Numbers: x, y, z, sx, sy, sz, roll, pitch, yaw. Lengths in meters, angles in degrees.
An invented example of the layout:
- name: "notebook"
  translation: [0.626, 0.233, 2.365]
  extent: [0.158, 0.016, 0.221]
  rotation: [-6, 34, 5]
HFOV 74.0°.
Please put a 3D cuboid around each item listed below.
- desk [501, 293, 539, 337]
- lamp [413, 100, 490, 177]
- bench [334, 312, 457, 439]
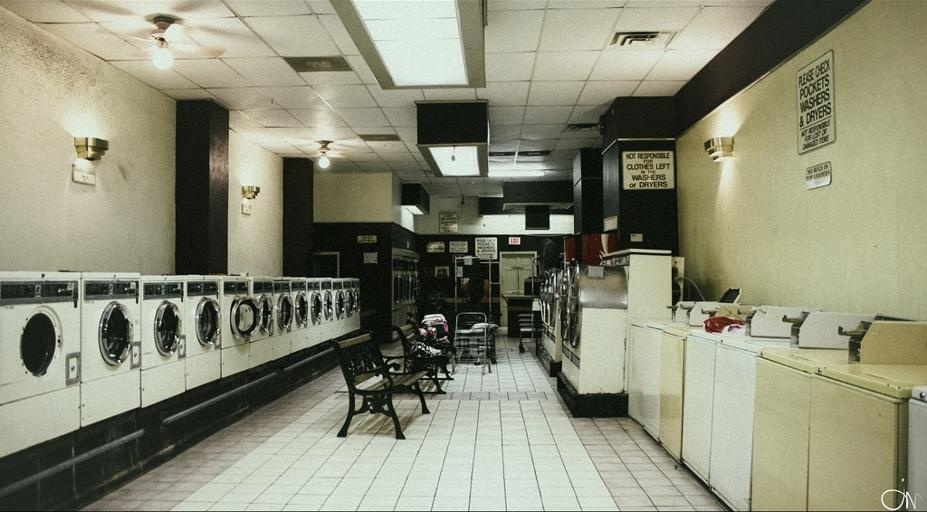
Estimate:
- name: "desk"
  translation: [1.642, 1.577, 15.957]
  extent: [1.191, 0.949, 1.081]
  rotation: [1, -4, -7]
- name: "lamp"
  translation: [-0.194, -2.181, 11.382]
  extent: [1.262, 1.247, 1.554]
  rotation: [0, 12, 2]
- name: "bench"
  translation: [-1.180, 2.877, 9.407]
  extent: [1.323, 1.295, 3.714]
  rotation: [-3, -3, 6]
